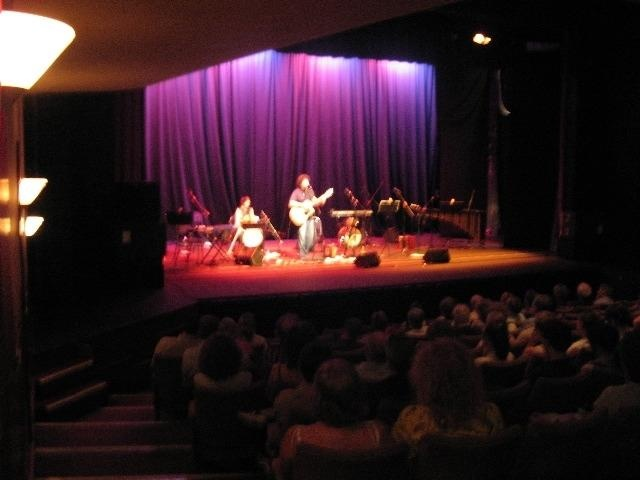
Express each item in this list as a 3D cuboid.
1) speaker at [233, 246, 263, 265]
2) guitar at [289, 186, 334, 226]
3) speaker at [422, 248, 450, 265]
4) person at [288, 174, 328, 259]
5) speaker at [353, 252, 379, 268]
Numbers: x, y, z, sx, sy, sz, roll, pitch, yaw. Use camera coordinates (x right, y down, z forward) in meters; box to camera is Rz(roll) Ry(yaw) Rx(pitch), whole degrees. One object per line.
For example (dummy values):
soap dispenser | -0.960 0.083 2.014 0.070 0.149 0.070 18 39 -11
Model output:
speaker | -1.132 0.250 8.823 0.364 0.283 0.293 -5 -13 21
guitar | -0.125 -0.572 9.497 0.885 0.432 0.149 -34 -19 -27
speaker | 1.777 0.256 8.743 0.275 0.140 0.250 -3 -4 -3
person | -0.136 -0.429 9.501 0.689 1.358 0.448 0 19 11
speaker | 0.688 0.302 8.374 0.357 0.209 0.260 5 44 0
